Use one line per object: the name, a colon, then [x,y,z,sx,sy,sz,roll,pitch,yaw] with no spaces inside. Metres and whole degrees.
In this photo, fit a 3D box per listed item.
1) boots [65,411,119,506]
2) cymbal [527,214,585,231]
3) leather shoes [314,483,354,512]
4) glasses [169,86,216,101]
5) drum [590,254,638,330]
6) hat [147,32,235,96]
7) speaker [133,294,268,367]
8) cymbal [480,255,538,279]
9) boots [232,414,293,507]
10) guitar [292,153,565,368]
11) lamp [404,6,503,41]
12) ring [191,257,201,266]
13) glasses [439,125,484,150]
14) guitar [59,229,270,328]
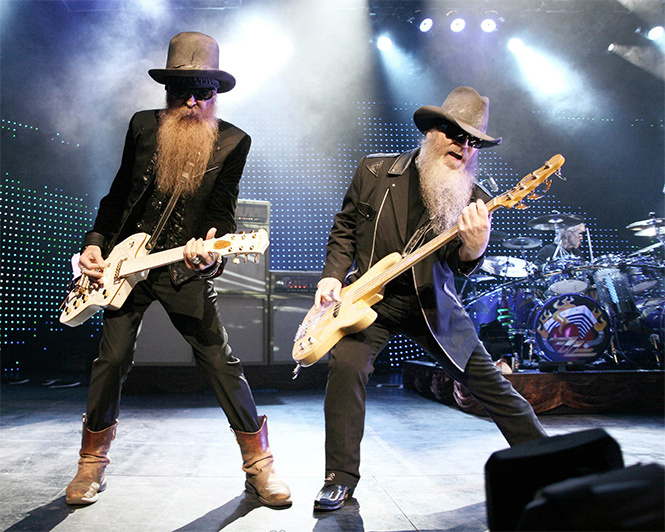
boots: [-1.224,0.962,2.706,0.187,0.349,0.501,7,-5,-11]
cymbal: [2.981,-0.592,7.171,0.398,0.125,0.393,8,0,-33]
leather shoes: [0.005,1.092,2.555,0.079,0.088,0.226,-16,-25,24]
glasses: [-0.730,-0.896,2.800,0.127,0.036,0.123,1,7,-10]
drum: [3.269,0.309,6.262,0.421,0.808,0.373,-27,-55,39]
hat: [-0.726,-1.071,2.860,0.448,0.265,0.509,-2,10,-42]
speaker: [-1.480,0.792,6.141,1.400,0.864,0.719,4,-23,-18]
cymbal: [2.397,0.019,7.309,0.591,0.130,0.578,-17,36,-23]
boots: [-0.340,0.980,2.705,0.183,0.404,0.423,-5,2,-32]
guitar: [0.228,0.197,2.530,0.361,0.146,1.202,0,-39,-43]
lamp: [1.747,-3.428,7.559,1.318,0.248,0.325,0,-4,5]
ring: [-0.657,-0.025,2.564,0.039,0.037,0.010,-11,24,-4]
glasses: [0.659,-0.659,2.759,0.188,0.025,0.094,26,-29,27]
guitar: [-0.958,0.097,3.325,0.992,0.400,0.914,-9,-25,12]
